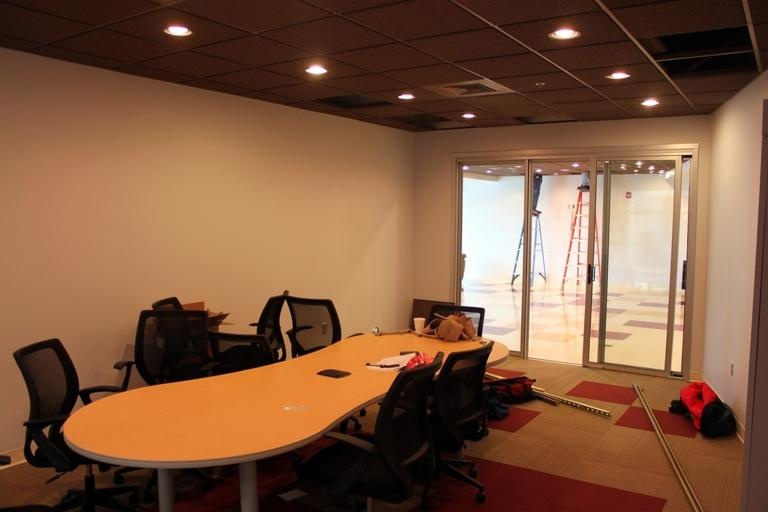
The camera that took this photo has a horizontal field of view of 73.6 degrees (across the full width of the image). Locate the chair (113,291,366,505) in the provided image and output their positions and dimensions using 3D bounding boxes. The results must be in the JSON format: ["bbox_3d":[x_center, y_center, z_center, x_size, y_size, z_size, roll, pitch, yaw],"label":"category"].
[{"bbox_3d":[-1.636,1.490,5.660,2.096,1.735,1.955,-3,1,-27],"label":"chair"}]

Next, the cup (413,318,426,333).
[{"bbox_3d":[0.452,0.904,6.767,0.212,0.208,0.210,-2,-1,0],"label":"cup"}]

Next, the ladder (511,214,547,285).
[{"bbox_3d":[2.382,-0.115,8.429,0.600,1.266,0.228,1,11,5],"label":"ladder"}]

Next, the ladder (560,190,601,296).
[{"bbox_3d":[3.060,-0.210,8.035,0.312,1.676,0.627,-4,11,-22],"label":"ladder"}]

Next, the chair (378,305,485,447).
[{"bbox_3d":[0.713,1.084,5.286,1.070,1.438,0.997,1,1,43],"label":"chair"}]
